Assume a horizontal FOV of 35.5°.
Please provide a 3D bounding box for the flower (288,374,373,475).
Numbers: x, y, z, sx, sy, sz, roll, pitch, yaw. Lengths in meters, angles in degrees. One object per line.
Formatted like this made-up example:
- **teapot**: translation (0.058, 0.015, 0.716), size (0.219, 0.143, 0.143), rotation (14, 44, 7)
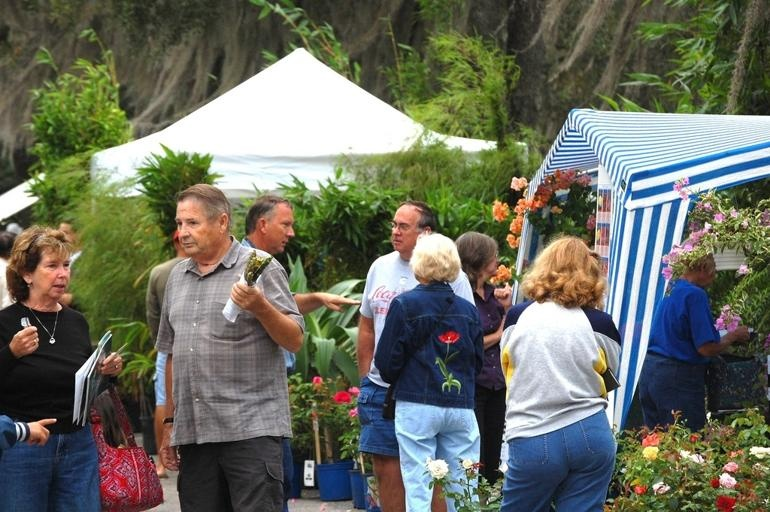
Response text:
- **flower**: translation (-0.635, 1.787, 13.165), size (1.184, 1.080, 0.906), rotation (2, -10, -8)
